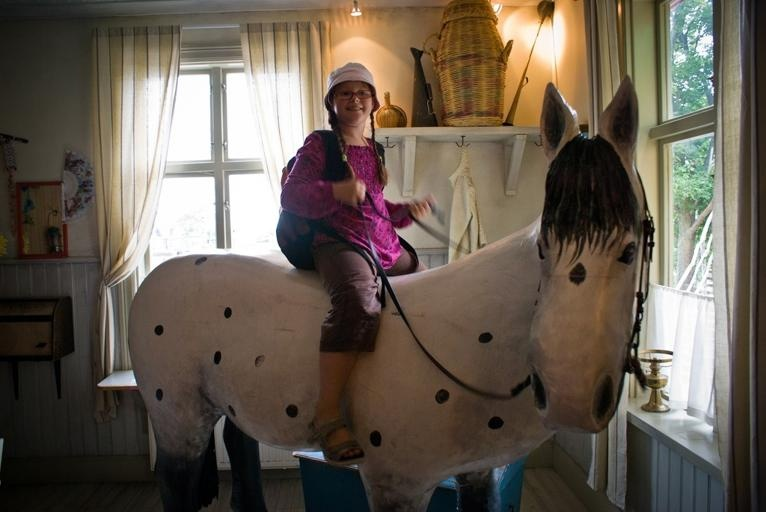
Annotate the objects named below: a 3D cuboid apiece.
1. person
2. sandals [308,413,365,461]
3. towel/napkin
[{"bbox_3d":[-0.143,-0.017,2.884,0.459,1.655,0.562,3,5,39],"label":"person"},{"bbox_3d":[-0.201,0.740,2.699,0.121,0.119,0.262,1,-2,-35],"label":"sandals"},{"bbox_3d":[0.534,-0.334,4.131,0.244,0.708,0.311,0,4,6],"label":"towel/napkin"}]
